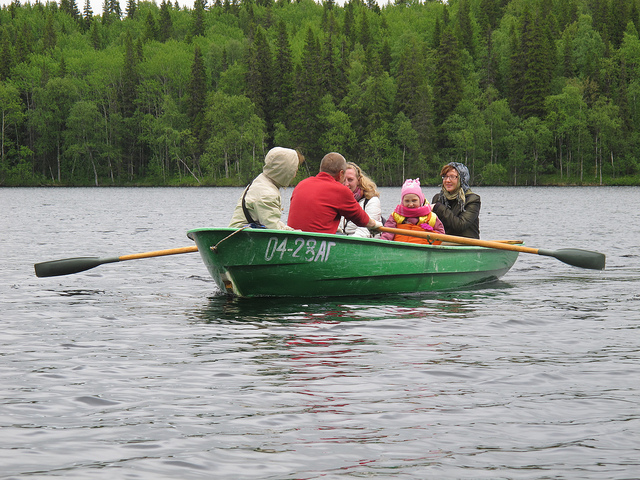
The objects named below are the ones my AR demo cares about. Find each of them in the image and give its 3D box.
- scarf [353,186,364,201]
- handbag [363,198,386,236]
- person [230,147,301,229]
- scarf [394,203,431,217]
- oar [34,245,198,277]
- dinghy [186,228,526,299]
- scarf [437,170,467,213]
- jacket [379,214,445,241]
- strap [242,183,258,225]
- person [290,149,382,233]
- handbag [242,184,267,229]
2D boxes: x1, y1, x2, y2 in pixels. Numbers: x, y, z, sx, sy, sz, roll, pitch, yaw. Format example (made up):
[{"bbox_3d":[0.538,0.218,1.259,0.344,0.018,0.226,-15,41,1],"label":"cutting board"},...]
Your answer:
[{"bbox_3d":[0.536,-0.658,13.051,0.179,0.157,0.089,28,4,23],"label":"scarf"},{"bbox_3d":[0.782,-0.330,13.345,0.438,0.455,0.194,0,18,2],"label":"handbag"},{"bbox_3d":[-0.535,-0.641,11.963,1.208,1.075,0.967,-2,17,6],"label":"person"},{"bbox_3d":[1.259,-0.409,12.775,0.481,0.168,0.307,-1,3,4],"label":"scarf"},{"bbox_3d":[-2.707,0.236,13.521,0.153,0.322,3.463,-41,-15,25],"label":"oar"},{"bbox_3d":[0.791,0.317,12.521,5.000,0.672,1.247,2,-2,-30],"label":"dinghy"},{"bbox_3d":[1.905,-0.665,13.607,0.483,0.410,0.241,8,5,3],"label":"scarf"},{"bbox_3d":[1.204,-0.181,12.927,1.033,0.308,0.781,4,7,22],"label":"jacket"},{"bbox_3d":[-0.860,-0.438,11.629,0.106,0.473,0.168,-5,6,-43],"label":"strap"},{"bbox_3d":[0.271,-0.635,12.068,0.893,0.938,1.189,27,35,34],"label":"person"},{"bbox_3d":[-0.803,-0.426,11.618,0.268,0.528,0.151,2,5,40],"label":"handbag"}]
